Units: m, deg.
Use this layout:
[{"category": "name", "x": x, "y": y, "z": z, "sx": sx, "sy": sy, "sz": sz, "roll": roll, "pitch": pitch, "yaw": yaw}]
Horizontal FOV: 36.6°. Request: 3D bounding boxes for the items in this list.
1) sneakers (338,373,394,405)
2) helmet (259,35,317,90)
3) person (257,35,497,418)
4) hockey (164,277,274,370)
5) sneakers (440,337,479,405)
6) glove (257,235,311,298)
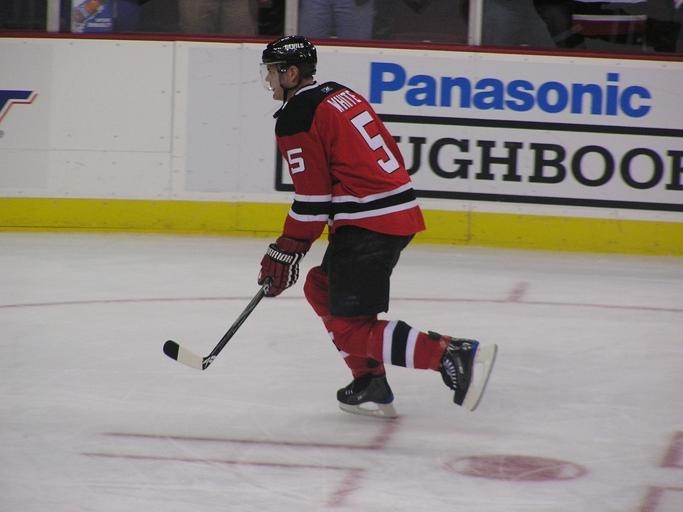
[{"category": "sneakers", "x": 0.105, "y": 0.582, "z": 4.488, "sx": 0.286, "sy": 0.116, "sz": 0.105, "roll": 0, "pitch": -4, "yaw": 11}, {"category": "helmet", "x": -0.226, "y": -0.872, "z": 4.460, "sx": 0.214, "sy": 0.171, "sz": 0.152, "roll": 1, "pitch": 7, "yaw": 9}, {"category": "person", "x": 0.108, "y": -0.098, "z": 4.353, "sx": 1.089, "sy": 1.582, "sz": 0.502, "roll": 5, "pitch": 14, "yaw": 8}, {"category": "hockey", "x": -0.497, "y": 0.320, "z": 4.475, "sx": 0.115, "sy": 0.413, "sz": 0.415, "roll": 42, "pitch": -19, "yaw": -1}, {"category": "sneakers", "x": 0.478, "y": 0.460, "z": 4.225, "sx": 0.149, "sy": 0.300, "sz": 0.104, "roll": 2, "pitch": 29, "yaw": 1}, {"category": "glove", "x": -0.254, "y": 0.030, "z": 4.439, "sx": 0.175, "sy": 0.290, "sz": 0.087, "roll": 28, "pitch": 29, "yaw": -12}]
